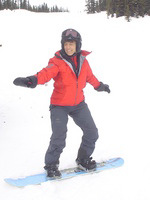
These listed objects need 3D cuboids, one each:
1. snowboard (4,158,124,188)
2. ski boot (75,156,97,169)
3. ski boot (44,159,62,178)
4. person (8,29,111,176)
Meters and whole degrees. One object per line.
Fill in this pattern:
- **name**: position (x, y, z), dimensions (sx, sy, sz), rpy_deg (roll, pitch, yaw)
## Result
- **snowboard**: position (-0.012, 0.837, 2.547), dimensions (1.534, 0.099, 0.285), rpy_deg (-4, 5, -28)
- **ski boot**: position (0.154, 0.750, 2.660), dimensions (0.297, 0.115, 0.094), rpy_deg (8, 15, 23)
- **ski boot**: position (-0.245, 0.764, 2.423), dimensions (0.194, 0.205, 0.204), rpy_deg (-3, 5, -8)
- **person**: position (-0.096, 0.069, 2.365), dimensions (1.119, 1.637, 0.353), rpy_deg (-7, 8, -43)
